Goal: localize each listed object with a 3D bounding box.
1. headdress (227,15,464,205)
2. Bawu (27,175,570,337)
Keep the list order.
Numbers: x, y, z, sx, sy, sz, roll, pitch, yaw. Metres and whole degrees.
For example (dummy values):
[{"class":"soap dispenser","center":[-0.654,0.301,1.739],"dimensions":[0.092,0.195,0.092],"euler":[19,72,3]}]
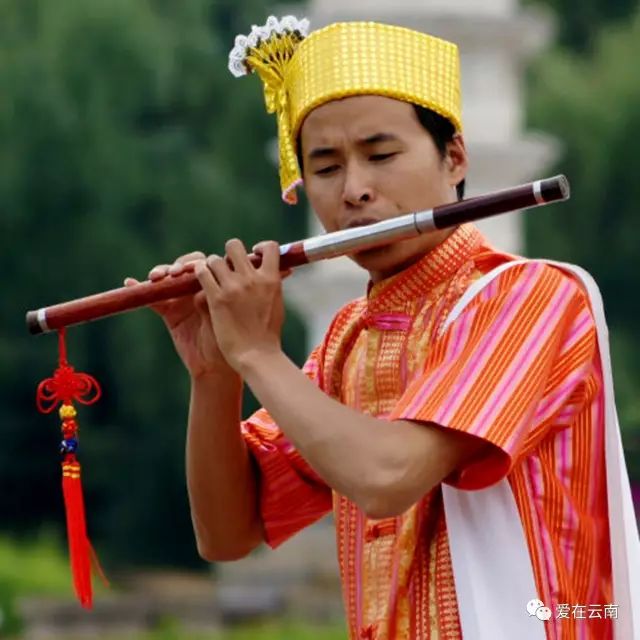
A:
[{"class":"headdress","center":[0.073,-0.750,6.056],"dimensions":[0.703,0.626,0.510],"euler":[-2,-13,-7]},{"class":"Bawu","center":[-0.227,-0.272,7.384],"dimensions":[2.223,0.218,0.216],"euler":[-19,44,8]}]
